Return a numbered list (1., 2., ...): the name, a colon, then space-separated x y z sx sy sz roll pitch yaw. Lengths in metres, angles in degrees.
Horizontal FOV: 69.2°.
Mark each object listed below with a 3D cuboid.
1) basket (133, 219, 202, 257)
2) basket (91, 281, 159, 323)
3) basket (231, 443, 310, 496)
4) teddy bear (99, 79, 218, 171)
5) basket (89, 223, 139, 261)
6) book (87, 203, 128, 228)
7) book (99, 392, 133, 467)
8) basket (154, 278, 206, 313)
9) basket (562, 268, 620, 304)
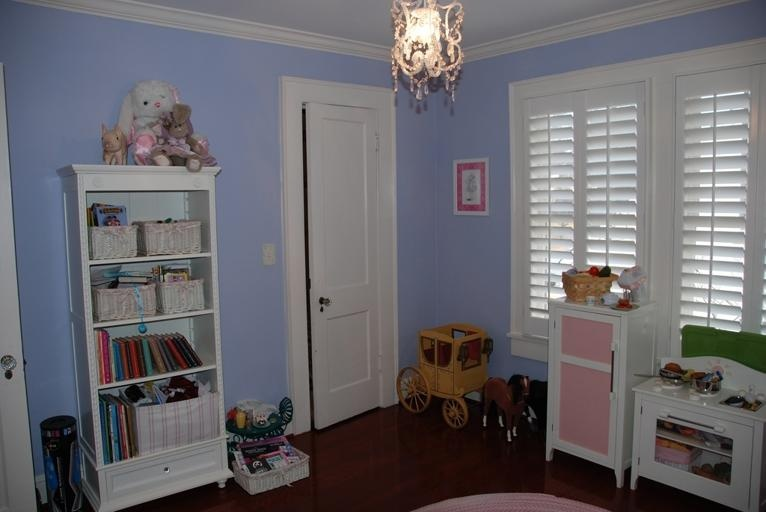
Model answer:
1. basket: -1.431 -0.119 3.773 0.288 0.185 0.289 -3 4 -39
2. basket: -1.699 0.237 3.659 0.346 0.233 0.217 -1 0 -42
3. basket: -0.778 1.525 3.968 0.330 0.105 0.275 -5 11 -34
4. teddy bear: -1.509 -0.873 3.754 0.654 0.532 0.535 14 18 30
5. basket: -1.751 -0.094 3.638 0.190 0.262 0.341 6 7 44
6. book: -1.804 -0.269 3.658 0.172 0.181 0.064 -6 -4 -26
7. book: -1.761 1.162 3.658 0.242 0.445 0.443 -4 0 -34
8. basket: -1.381 0.251 3.826 0.236 0.184 0.238 -1 1 -33
9. basket: 1.488 0.217 4.055 0.265 0.159 0.293 2 2 43
